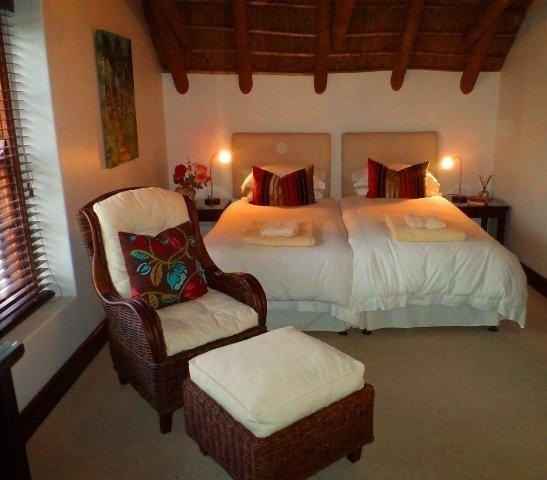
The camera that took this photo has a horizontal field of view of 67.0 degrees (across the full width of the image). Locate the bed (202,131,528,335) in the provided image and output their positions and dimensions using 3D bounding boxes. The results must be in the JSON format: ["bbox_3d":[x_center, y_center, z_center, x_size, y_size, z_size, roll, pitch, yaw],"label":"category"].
[{"bbox_3d":[0.749,0.014,4.146,2.271,1.248,2.287,-2,24,-1],"label":"bed"}]

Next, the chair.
[{"bbox_3d":[-0.501,0.138,2.947,1.364,1.547,1.183,18,24,41],"label":"chair"}]
